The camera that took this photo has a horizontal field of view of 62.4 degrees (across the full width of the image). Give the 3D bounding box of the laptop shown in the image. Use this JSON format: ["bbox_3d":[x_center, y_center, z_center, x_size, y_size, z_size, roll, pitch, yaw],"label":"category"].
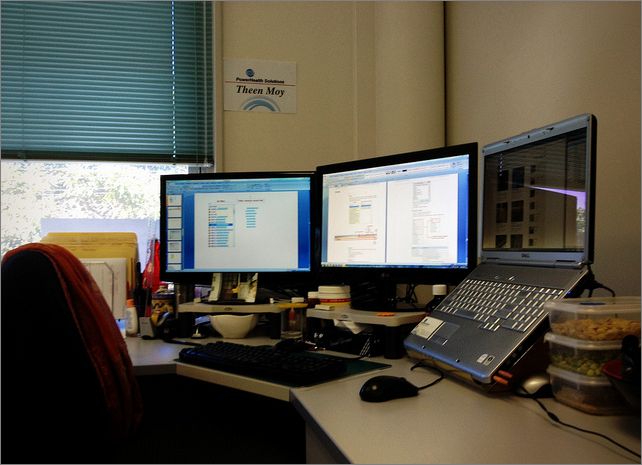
[{"bbox_3d":[0.453,0.031,1.443,0.397,0.661,0.466,0,-1,-27],"label":"laptop"}]

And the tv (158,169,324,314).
[{"bbox_3d":[-0.323,0.003,2.127,0.669,0.476,0.169,0,0,17],"label":"tv"}]

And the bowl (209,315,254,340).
[{"bbox_3d":[-0.318,0.335,1.974,0.113,0.060,0.112,0,-4,0],"label":"bowl"}]

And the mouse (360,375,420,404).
[{"bbox_3d":[0.170,0.389,1.343,0.121,0.041,0.064,-3,-1,-16],"label":"mouse"}]

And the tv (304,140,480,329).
[{"bbox_3d":[0.246,-0.006,1.830,0.693,0.503,0.220,-5,9,-26],"label":"tv"}]
